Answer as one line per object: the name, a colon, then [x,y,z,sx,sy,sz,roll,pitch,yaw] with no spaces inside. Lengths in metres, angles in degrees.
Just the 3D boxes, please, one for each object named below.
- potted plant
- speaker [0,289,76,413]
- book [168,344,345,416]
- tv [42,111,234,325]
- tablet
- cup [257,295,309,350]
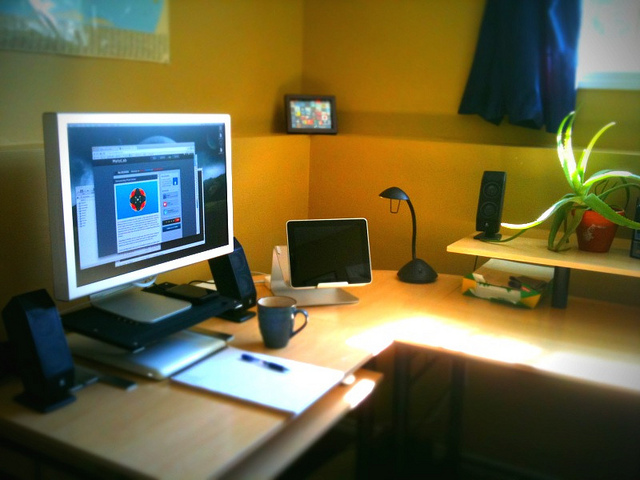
potted plant: [0.918,-0.277,2.002,0.552,0.460,0.511,12,29,36]
speaker: [-0.685,0.263,1.271,0.128,0.259,0.132,-11,16,-32]
book: [-0.161,0.362,1.381,0.412,0.046,0.213,3,15,20]
tv: [-0.509,-0.066,1.428,0.197,0.490,0.573,10,15,30]
tablet: [0.024,0.045,1.896,0.349,0.237,0.115,-4,0,-12]
cup: [-0.115,0.218,1.584,0.187,0.144,0.136,0,6,-10]
